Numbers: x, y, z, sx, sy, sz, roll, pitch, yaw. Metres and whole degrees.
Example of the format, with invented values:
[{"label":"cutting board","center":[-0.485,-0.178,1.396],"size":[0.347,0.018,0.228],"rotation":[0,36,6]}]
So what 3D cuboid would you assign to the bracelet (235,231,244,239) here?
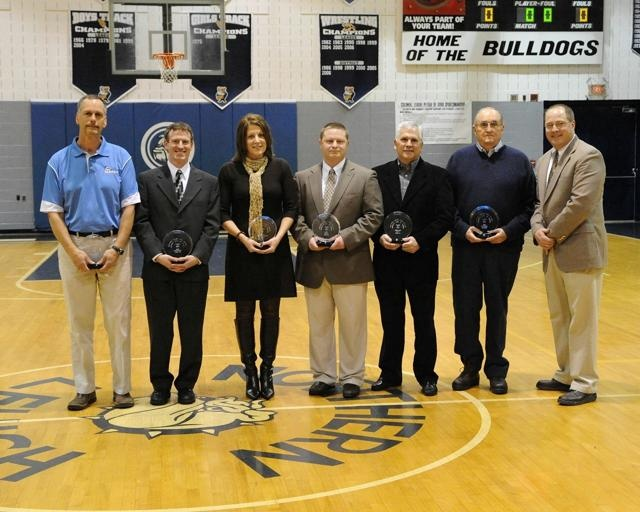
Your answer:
[{"label":"bracelet","center":[-0.523,-0.143,3.879],"size":[0.035,0.049,0.017],"rotation":[2,-8,12]}]

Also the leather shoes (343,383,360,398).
[{"label":"leather shoes","center":[0.236,0.943,4.024],"size":[0.115,0.083,0.108],"rotation":[0,8,2]}]

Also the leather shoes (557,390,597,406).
[{"label":"leather shoes","center":[1.730,0.943,3.886],"size":[0.261,0.112,0.102],"rotation":[2,-4,-18]}]

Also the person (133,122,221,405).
[{"label":"person","center":[-0.927,0.055,3.913],"size":[0.564,1.894,0.400],"rotation":[-3,8,-19]}]

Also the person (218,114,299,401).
[{"label":"person","center":[-0.407,0.013,4.033],"size":[0.548,1.977,0.392],"rotation":[-1,8,-2]}]

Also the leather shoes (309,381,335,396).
[{"label":"leather shoes","center":[0.032,0.948,4.104],"size":[0.076,0.085,0.212],"rotation":[-4,-11,38]}]

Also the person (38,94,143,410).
[{"label":"person","center":[-1.461,-0.016,3.807],"size":[0.596,2.052,0.370],"rotation":[-3,8,-17]}]

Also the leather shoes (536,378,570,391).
[{"label":"leather shoes","center":[1.660,0.931,4.113],"size":[0.221,0.110,0.089],"rotation":[7,-3,4]}]

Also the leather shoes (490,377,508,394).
[{"label":"leather shoes","center":[1.269,0.920,4.065],"size":[0.120,0.096,0.109],"rotation":[2,8,19]}]

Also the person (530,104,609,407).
[{"label":"person","center":[1.691,-0.030,3.958],"size":[0.502,2.019,0.527],"rotation":[5,9,37]}]

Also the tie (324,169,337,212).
[{"label":"tie","center":[0.085,-0.476,4.080],"size":[0.055,0.383,0.041],"rotation":[4,-10,9]}]

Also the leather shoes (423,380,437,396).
[{"label":"leather shoes","center":[0.785,0.934,4.065],"size":[0.114,0.082,0.140],"rotation":[1,8,10]}]

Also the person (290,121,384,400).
[{"label":"person","center":[0.142,0.028,4.070],"size":[0.621,1.920,0.419],"rotation":[1,8,6]}]

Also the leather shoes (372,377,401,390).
[{"label":"leather shoes","center":[0.499,0.929,4.219],"size":[0.244,0.119,0.087],"rotation":[4,-3,-21]}]

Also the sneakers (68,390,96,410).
[{"label":"sneakers","center":[-1.545,0.979,3.830],"size":[0.070,0.138,0.184],"rotation":[-3,-9,12]}]

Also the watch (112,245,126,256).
[{"label":"watch","center":[-1.282,-0.037,3.752],"size":[0.062,0.034,0.055],"rotation":[32,-3,46]}]
